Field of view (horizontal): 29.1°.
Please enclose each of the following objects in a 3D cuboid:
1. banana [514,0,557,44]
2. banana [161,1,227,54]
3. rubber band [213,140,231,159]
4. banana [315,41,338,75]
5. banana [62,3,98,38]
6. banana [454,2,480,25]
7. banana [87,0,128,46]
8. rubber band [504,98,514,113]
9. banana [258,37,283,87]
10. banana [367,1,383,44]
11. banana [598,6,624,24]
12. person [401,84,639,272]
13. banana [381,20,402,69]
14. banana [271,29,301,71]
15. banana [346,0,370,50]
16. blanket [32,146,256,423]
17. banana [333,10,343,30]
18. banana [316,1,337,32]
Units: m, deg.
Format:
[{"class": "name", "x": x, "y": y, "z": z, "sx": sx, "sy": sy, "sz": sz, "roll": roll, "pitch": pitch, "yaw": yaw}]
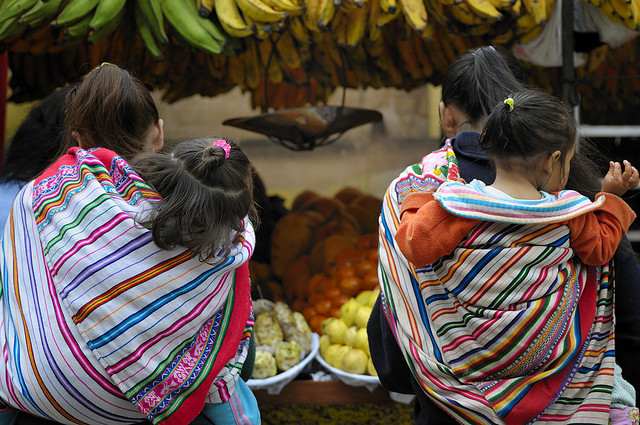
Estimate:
[{"class": "banana", "x": 1.153, "y": -1.019, "z": 6.793, "sx": 0.159, "sy": 0.159, "sz": 0.062, "roll": -1, "pitch": 28, "yaw": -14}, {"class": "banana", "x": -0.625, "y": -0.970, "z": 6.414, "sx": 0.094, "sy": 0.325, "sz": 0.112, "roll": -52, "pitch": -13, "yaw": -10}, {"class": "rubber band", "x": -0.419, "y": -0.280, "z": 5.462, "sx": 0.087, "sy": 0.066, "sz": 0.022, "roll": 0, "pitch": -15, "yaw": 1}, {"class": "banana", "x": 0.058, "y": -0.847, "z": 6.841, "sx": 0.072, "sy": 0.242, "sz": 0.047, "roll": -26, "pitch": 34, "yaw": 18}, {"class": "banana", "x": -1.215, "y": -0.999, "z": 6.384, "sx": 0.201, "sy": 0.045, "sz": 0.071, "roll": -45, "pitch": -12, "yaw": 30}, {"class": "banana", "x": 0.770, "y": -1.028, "z": 6.425, "sx": 0.108, "sy": 0.089, "sz": 0.103, "roll": 21, "pitch": -20, "yaw": -35}, {"class": "banana", "x": -1.100, "y": -1.011, "z": 6.536, "sx": 0.256, "sy": 0.058, "sz": 0.088, "roll": -45, "pitch": 15, "yaw": -9}, {"class": "rubber band", "x": 0.833, "y": -0.472, "z": 5.403, "sx": 0.051, "sy": 0.048, "sz": 0.025, "roll": 1, "pitch": -8, "yaw": -15}, {"class": "banana", "x": -0.249, "y": -0.830, "z": 6.809, "sx": 0.087, "sy": 0.282, "sz": 0.062, "roll": -17, "pitch": 46, "yaw": 9}, {"class": "banana", "x": 0.288, "y": -0.987, "z": 6.469, "sx": 0.083, "sy": 0.201, "sz": 0.057, "roll": 2, "pitch": 28, "yaw": -12}, {"class": "banana", "x": 1.533, "y": -1.034, "z": 6.501, "sx": 0.115, "sy": 0.131, "sz": 0.221, "roll": -8, "pitch": 15, "yaw": 14}, {"class": "person", "x": 0.956, "y": -0.138, "z": 5.659, "sx": 0.658, "sy": 0.881, "sz": 0.568, "roll": 30, "pitch": 49, "yaw": 29}, {"class": "banana", "x": 0.463, "y": -0.970, "z": 7.257, "sx": 0.093, "sy": 0.333, "sz": 0.067, "roll": -38, "pitch": 60, "yaw": -5}, {"class": "banana", "x": -0.162, "y": -0.880, "z": 6.731, "sx": 0.075, "sy": 0.248, "sz": 0.058, "roll": -21, "pitch": 43, "yaw": 13}, {"class": "banana", "x": 0.203, "y": -0.969, "z": 6.453, "sx": 0.088, "sy": 0.260, "sz": 0.077, "roll": 15, "pitch": 16, "yaw": -42}, {"class": "blanket", "x": -0.723, "y": 0.299, "z": 5.519, "sx": 0.868, "sy": 1.234, "sz": 0.482, "roll": -13, "pitch": 18, "yaw": 0}, {"class": "banana", "x": 0.105, "y": -0.995, "z": 6.438, "sx": 0.034, "sy": 0.107, "sz": 0.043, "roll": 11, "pitch": 8, "yaw": -44}, {"class": "banana", "x": 0.039, "y": -0.997, "z": 6.294, "sx": 0.098, "sy": 0.141, "sz": 0.057, "roll": 20, "pitch": 2, "yaw": -9}]
